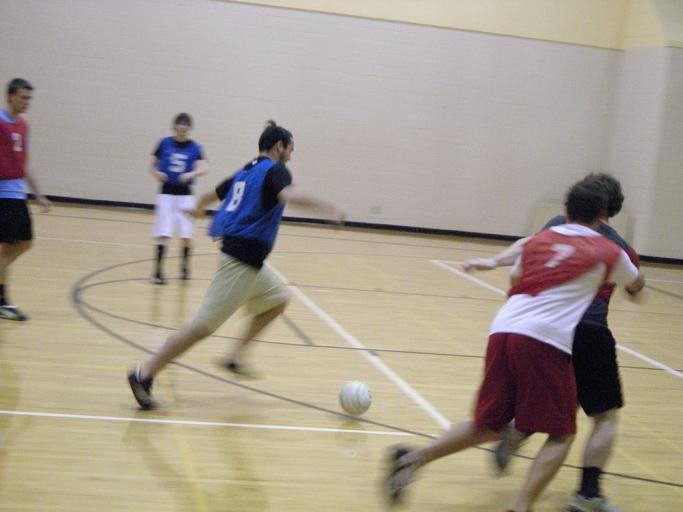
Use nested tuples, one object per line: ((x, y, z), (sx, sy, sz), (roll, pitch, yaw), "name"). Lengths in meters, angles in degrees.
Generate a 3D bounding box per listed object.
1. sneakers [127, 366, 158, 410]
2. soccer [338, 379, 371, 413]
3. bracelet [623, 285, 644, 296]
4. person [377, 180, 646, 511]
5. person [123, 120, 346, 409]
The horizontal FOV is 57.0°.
((-1.332, 0.888, 4.216), (0.184, 0.291, 0.115), (5, 12, -6), "sneakers")
((0.118, 0.993, 4.446), (0.240, 0.208, 0.207), (-1, -22, 15), "soccer")
((1.639, 0.194, 3.544), (0.092, 0.039, 0.107), (-2, -2, 19), "bracelet")
((0.969, 0.495, 3.348), (1.179, 1.863, 0.710), (6, 12, -2), "person")
((-0.774, 0.041, 4.407), (1.052, 1.980, 1.134), (6, 12, -2), "person")
